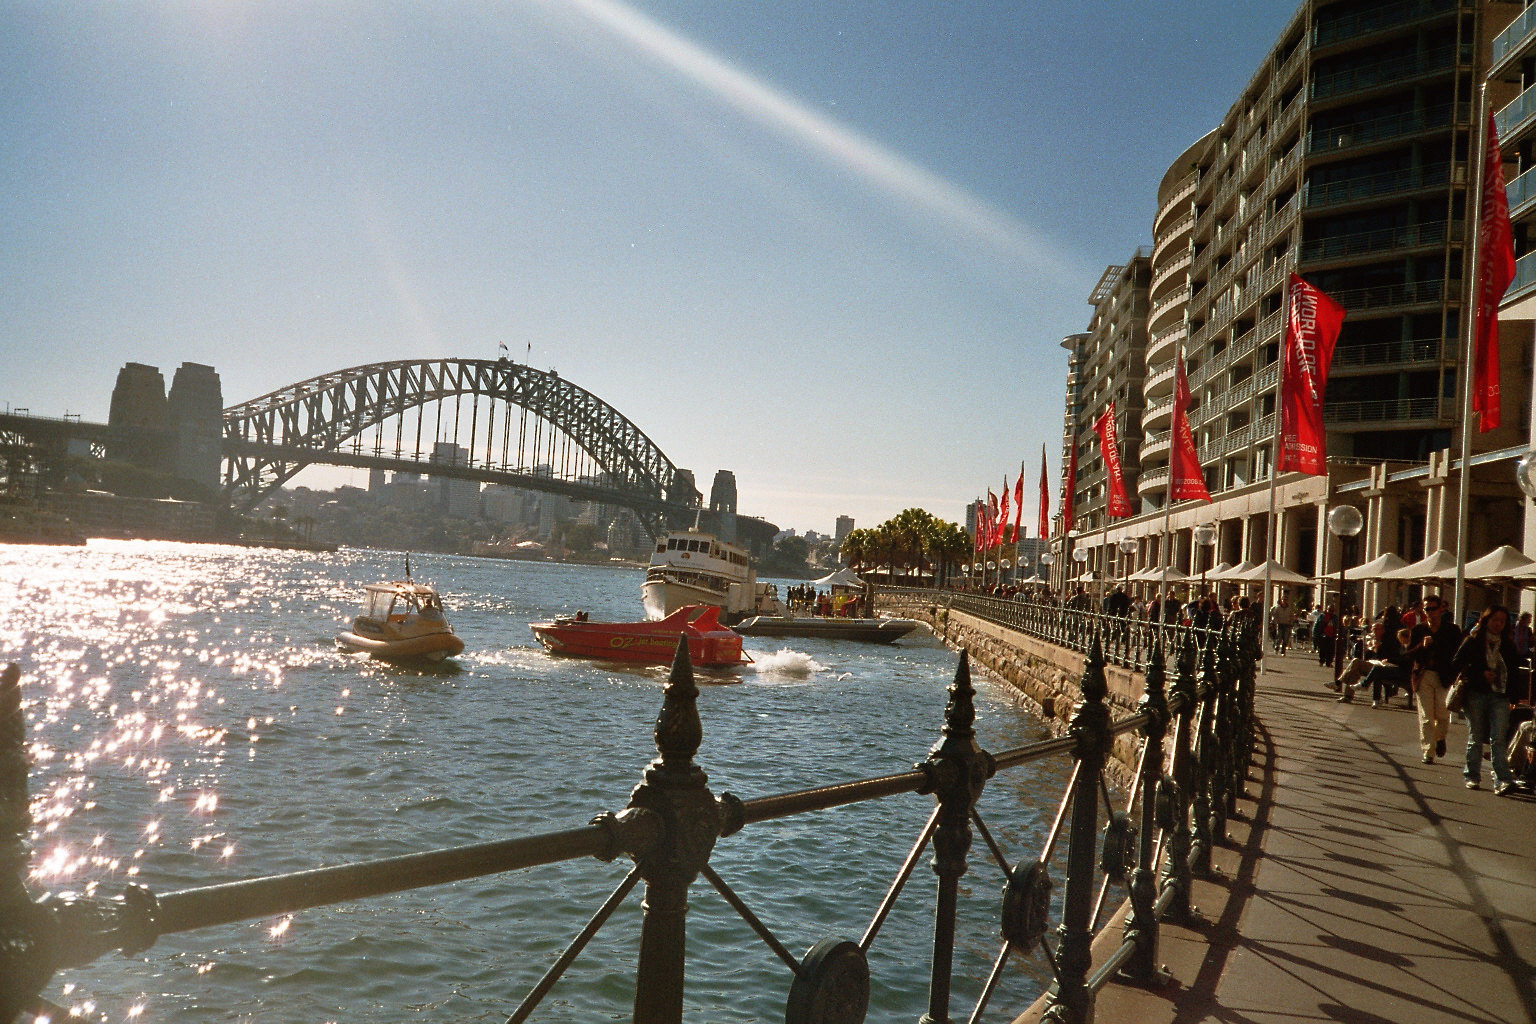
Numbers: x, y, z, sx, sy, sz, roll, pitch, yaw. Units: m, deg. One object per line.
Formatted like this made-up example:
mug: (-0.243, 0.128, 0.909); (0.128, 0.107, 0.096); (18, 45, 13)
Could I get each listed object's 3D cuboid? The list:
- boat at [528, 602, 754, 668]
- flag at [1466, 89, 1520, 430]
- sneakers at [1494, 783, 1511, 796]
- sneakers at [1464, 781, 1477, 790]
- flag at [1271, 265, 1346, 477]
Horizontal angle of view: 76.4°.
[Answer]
boat: (-5.201, 5.581, 43.281); (7.939, 2.955, 5.163); (-2, -3, 33)
flag: (14.851, -5.037, 20.196); (0.746, 6.593, 1.569); (-3, -3, 36)
sneakers: (9.316, 3.554, 12.444); (0.116, 0.135, 0.320); (-5, -12, 31)
sneakers: (8.975, 3.528, 12.523); (0.115, 0.043, 0.136); (-1, 0, 25)
flag: (14.181, -3.692, 25.905); (1.362, 5.326, 2.952); (-2, -3, 27)
